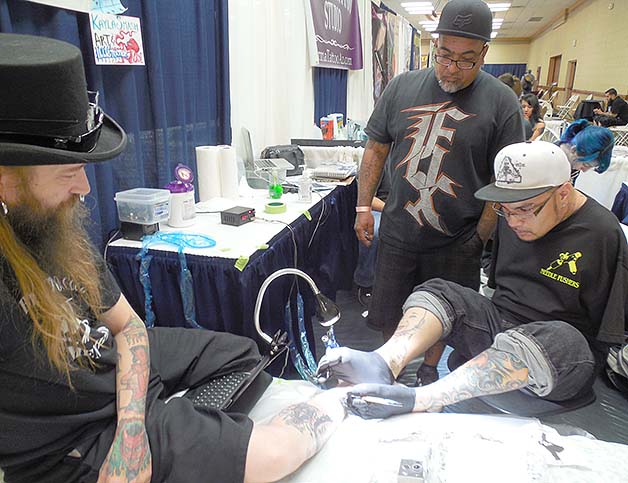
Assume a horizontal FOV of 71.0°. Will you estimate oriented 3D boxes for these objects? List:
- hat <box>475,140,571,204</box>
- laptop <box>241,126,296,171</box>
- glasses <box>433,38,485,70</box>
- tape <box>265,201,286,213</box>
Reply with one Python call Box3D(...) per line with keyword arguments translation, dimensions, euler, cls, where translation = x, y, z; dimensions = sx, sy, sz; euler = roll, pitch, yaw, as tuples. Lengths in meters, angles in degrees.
Box3D(translation=(0.758, -0.257, 1.600), dimensions=(0.277, 0.154, 0.220), euler=(-13, 14, -11), cls="hat")
Box3D(translation=(-0.332, -0.630, 3.081), dimensions=(0.240, 0.334, 0.427), euler=(0, 14, -6), cls="laptop")
Box3D(translation=(0.615, -0.793, 1.852), dimensions=(0.132, 0.092, 0.179), euler=(11, 26, 5), cls="glasses")
Box3D(translation=(-0.215, -0.185, 2.418), dimensions=(0.070, 0.030, 0.070), euler=(-1, 22, 1), cls="tape")
